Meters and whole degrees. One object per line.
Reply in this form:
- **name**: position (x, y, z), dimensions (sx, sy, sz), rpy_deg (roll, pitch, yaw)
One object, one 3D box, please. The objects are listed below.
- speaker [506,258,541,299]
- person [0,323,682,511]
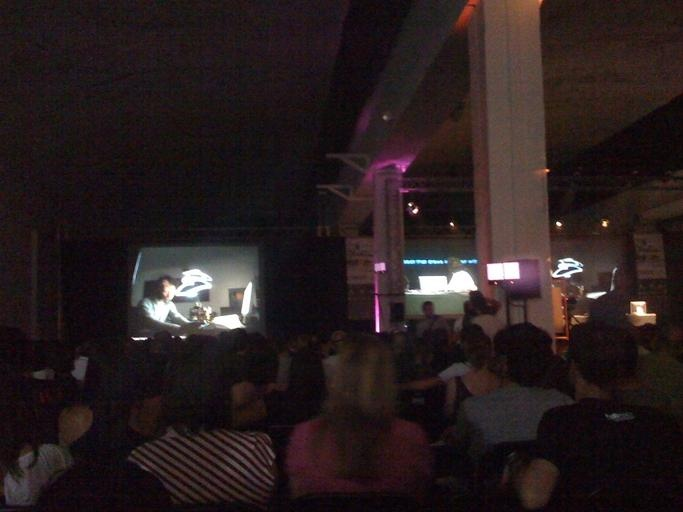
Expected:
- **speaker**: position (2.023, 0.267, 6.520), dimensions (0.448, 0.389, 0.107), rpy_deg (-2, 2, -3)
- **person**: position (0.403, 0.940, 3.397), dimensions (3.096, 1.087, 0.441), rpy_deg (0, -6, 5)
